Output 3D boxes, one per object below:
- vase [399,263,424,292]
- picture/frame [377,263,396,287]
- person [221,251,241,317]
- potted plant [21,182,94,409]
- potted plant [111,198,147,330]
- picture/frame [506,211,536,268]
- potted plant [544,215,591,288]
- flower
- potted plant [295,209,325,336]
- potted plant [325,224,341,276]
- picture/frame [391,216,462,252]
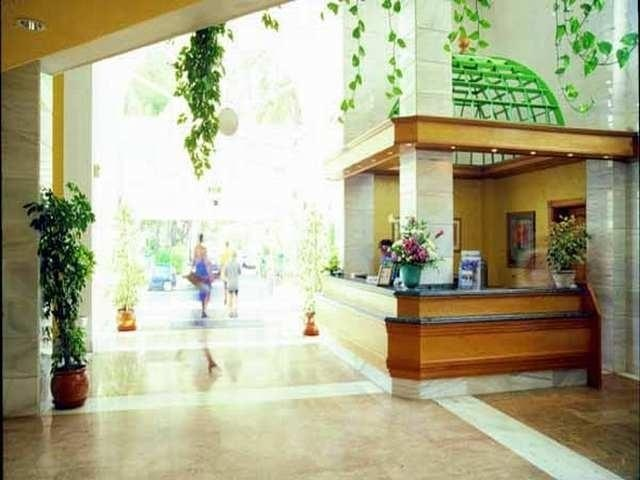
[{"bbox_3d":[1.274,0.524,7.397,0.293,0.282,0.335,1,-8,8],"label":"vase"},{"bbox_3d":[1.053,0.546,8.445,0.078,0.316,0.297,18,-16,-28],"label":"picture/frame"},{"bbox_3d":[-1.870,0.956,11.204,0.403,1.422,0.818,0,-1,-10],"label":"person"},{"bbox_3d":[-3.163,0.694,6.536,0.731,2.782,0.585,0,-1,-25],"label":"potted plant"},{"bbox_3d":[-3.831,0.559,10.724,0.570,2.500,0.381,0,-1,-22],"label":"potted plant"},{"bbox_3d":[3.858,-0.004,10.169,0.188,1.055,0.678,0,-1,-27],"label":"picture/frame"},{"bbox_3d":[3.893,0.160,8.343,0.579,1.082,1.848,-1,-2,27],"label":"potted plant"},{"bbox_3d":[1.354,0.231,7.489,0.708,0.781,0.801,3,-19,33],"label":"flower"},{"bbox_3d":[-0.162,0.650,10.187,0.461,2.416,0.529,0,-1,-3],"label":"potted plant"},{"bbox_3d":[0.259,0.187,11.171,0.295,1.053,0.688,0,-1,2],"label":"potted plant"},{"bbox_3d":[1.513,-0.088,7.915,0.619,0.477,0.346,0,-5,-10],"label":"picture/frame"}]
